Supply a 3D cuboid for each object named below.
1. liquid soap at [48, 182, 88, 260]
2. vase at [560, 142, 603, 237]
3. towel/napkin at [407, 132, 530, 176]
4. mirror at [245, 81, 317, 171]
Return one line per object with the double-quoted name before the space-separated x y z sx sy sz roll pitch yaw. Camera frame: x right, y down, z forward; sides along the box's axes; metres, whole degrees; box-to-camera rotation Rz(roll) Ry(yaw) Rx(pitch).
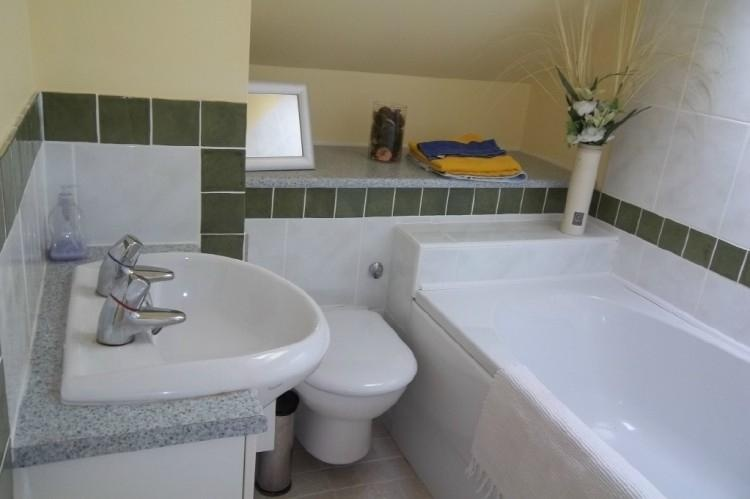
"liquid soap" -0.995 -0.065 1.646 0.104 0.205 0.079 -7 22 -25
"vase" 0.978 -0.280 2.448 0.118 0.429 0.071 10 21 20
"towel/napkin" 0.450 -0.435 2.497 0.294 0.099 0.316 -5 28 -17
"mirror" -0.418 -0.527 2.224 0.424 0.448 0.034 -2 -1 -21
